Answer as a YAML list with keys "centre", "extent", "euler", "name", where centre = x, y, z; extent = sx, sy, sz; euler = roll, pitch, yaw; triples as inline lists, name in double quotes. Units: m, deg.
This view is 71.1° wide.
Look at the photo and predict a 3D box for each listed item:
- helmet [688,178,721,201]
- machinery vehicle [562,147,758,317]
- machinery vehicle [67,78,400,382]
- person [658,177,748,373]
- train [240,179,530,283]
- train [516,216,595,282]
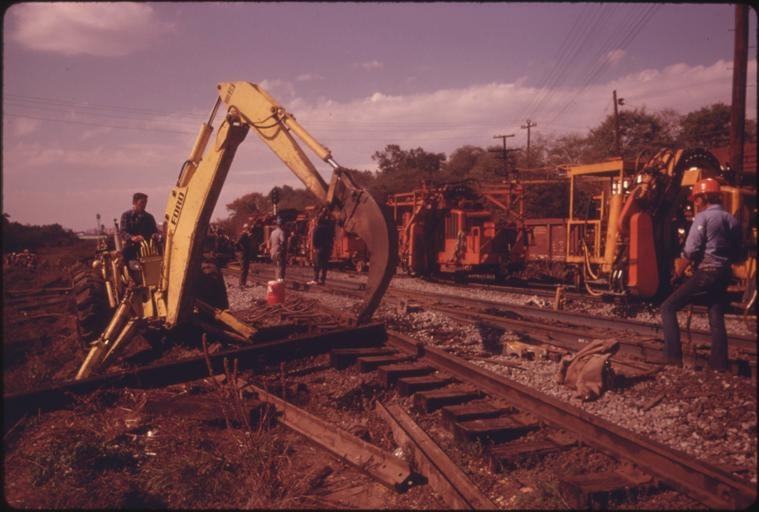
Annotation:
- centre: [5.401, -1.110, 8.956]
  extent: [0.475, 0.348, 0.603]
  euler: [-2, 0, 0]
  name: "helmet"
- centre: [7.102, -0.791, 14.158]
  extent: [3.150, 3.190, 5.443]
  euler: [0, 4, 1]
  name: "machinery vehicle"
- centre: [-2.609, -0.446, 9.095]
  extent: [6.513, 4.655, 3.949]
  euler: [1, 9, 33]
  name: "machinery vehicle"
- centre: [5.218, 0.244, 8.572]
  extent: [1.070, 2.989, 0.954]
  euler: [-3, 6, -45]
  name: "person"
- centre: [0.359, -1.467, 25.109]
  extent: [4.103, 4.703, 16.202]
  euler: [1, 2, -35]
  name: "train"
- centre: [6.347, -0.328, 18.548]
  extent: [2.034, 2.645, 3.680]
  euler: [2, -2, -21]
  name: "train"
